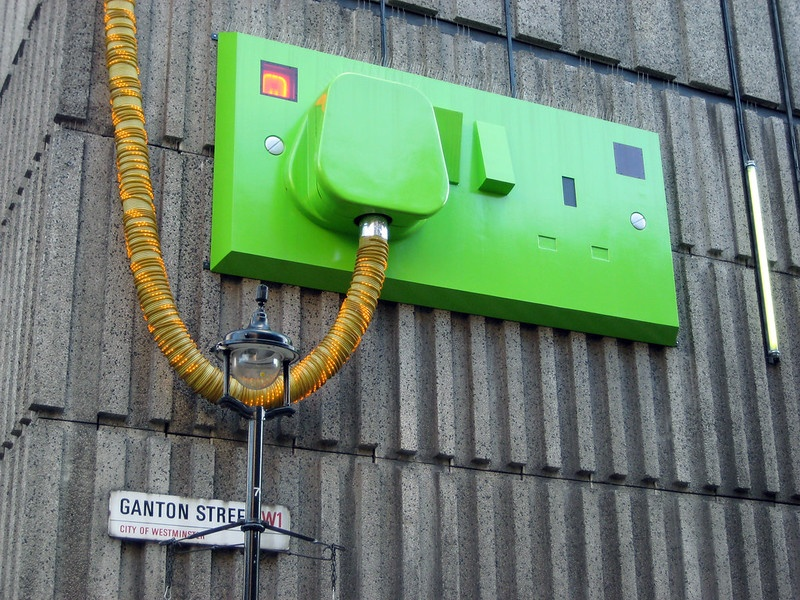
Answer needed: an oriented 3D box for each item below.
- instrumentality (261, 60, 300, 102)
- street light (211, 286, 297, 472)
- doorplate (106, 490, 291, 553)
[{"bbox_3d":[-0.677,-1.202,8.725,0.186,0.063,0.181,9,67,-26],"label":"instrumentality"},{"bbox_3d":[-0.709,0.420,7.463,0.426,0.362,0.985,8,74,-27],"label":"street light"},{"bbox_3d":[-1.030,1.094,8.078,0.943,0.102,0.268,5,104,-2],"label":"doorplate"}]
